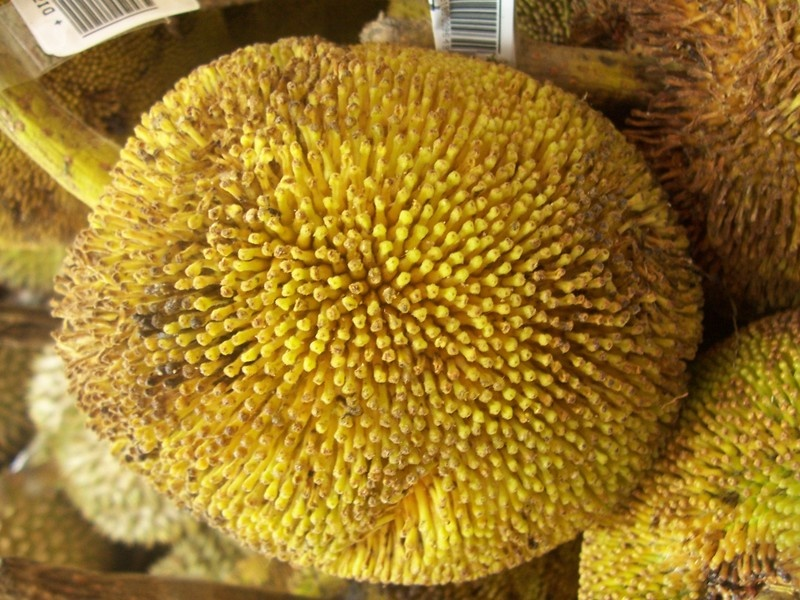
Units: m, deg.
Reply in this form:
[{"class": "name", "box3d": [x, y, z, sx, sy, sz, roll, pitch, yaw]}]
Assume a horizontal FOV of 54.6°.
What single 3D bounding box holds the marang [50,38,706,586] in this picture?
[{"class": "marang", "box3d": [-0.010, -0.022, 1.086, 0.845, 0.586, 0.540, 10, -71, 4]}]
